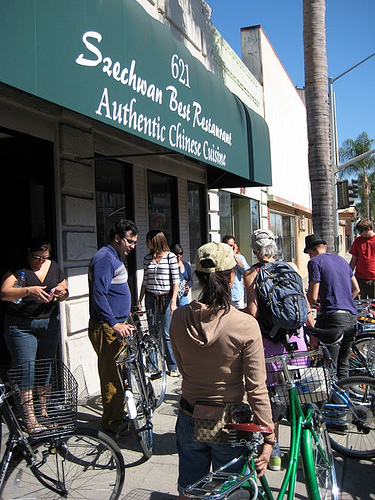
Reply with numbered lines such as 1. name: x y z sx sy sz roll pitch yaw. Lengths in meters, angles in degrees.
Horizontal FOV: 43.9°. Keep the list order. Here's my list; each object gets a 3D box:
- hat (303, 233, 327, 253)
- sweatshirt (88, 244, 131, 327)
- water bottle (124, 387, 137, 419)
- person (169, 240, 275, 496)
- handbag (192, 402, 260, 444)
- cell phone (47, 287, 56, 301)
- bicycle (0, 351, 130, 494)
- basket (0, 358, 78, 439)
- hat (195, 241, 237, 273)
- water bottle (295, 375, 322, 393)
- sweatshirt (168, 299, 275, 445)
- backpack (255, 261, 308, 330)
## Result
1. hat: 1.265 -0.088 4.626 0.176 0.121 0.225 -26 -11 -2
2. sweatshirt: -0.679 0.318 4.010 0.374 0.700 0.844 0 7 -2
3. water bottle: -0.451 1.193 3.623 0.070 0.238 0.151 -3 1 -15
4. person: 0.133 0.514 1.882 0.396 0.994 0.381 -3 1 -4
5. handbag: 0.155 0.668 1.805 0.209 0.163 0.062 0 -4 -12
6. cell phone: -1.088 0.345 3.725 0.033 0.108 0.065 10 -12 -44
7. bicycle: -0.722 1.143 2.822 0.648 0.893 0.952 -3 1 -7
8. basket: -0.833 0.768 2.604 0.376 0.362 0.575 -2 28 -21
9. hat: 0.134 0.010 2.012 0.164 0.130 0.241 3 11 33
10. water bottle: 0.697 0.765 2.675 0.148 0.087 0.063 -2 1 12
11. sweatshirt: 0.135 0.533 1.973 0.461 0.620 0.451 -4 -5 30
12. backpack: 0.619 0.299 3.116 0.301 0.453 0.429 -1 1 -19
